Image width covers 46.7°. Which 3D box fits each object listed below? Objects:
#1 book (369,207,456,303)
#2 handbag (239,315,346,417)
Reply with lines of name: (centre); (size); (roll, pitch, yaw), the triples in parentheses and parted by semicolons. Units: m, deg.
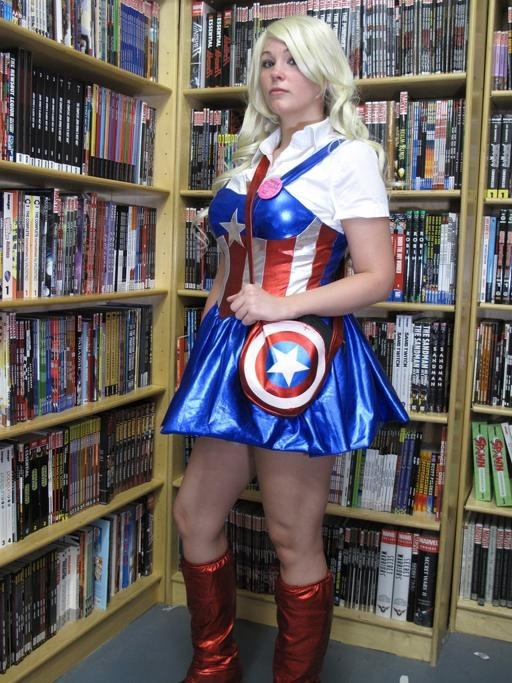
book: (0.513, -0.279, 1.972); (0.276, 0.392, 0.290); (3, 7, 21)
handbag: (0.072, 0.038, 1.050); (0.208, 0.160, 0.142); (-2, 9, -10)
